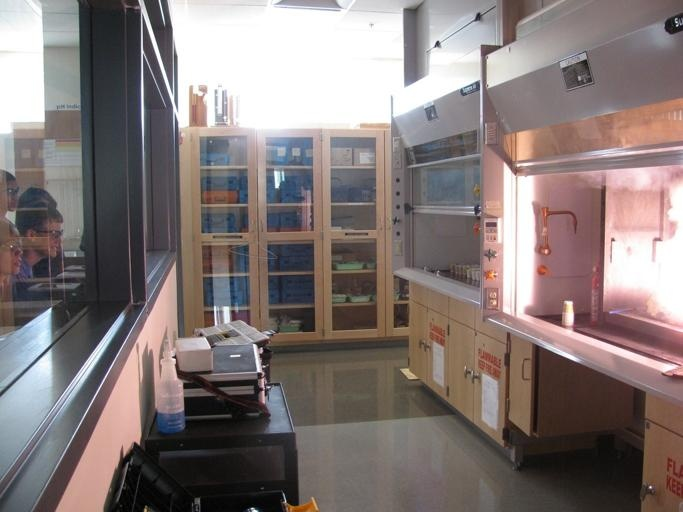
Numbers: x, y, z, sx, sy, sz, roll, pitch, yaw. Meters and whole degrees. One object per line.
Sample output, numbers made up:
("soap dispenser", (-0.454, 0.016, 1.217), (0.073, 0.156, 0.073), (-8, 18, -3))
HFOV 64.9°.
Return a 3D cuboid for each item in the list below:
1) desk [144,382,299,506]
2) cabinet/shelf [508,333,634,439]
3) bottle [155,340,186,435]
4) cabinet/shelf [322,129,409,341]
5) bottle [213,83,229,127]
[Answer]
("desk", (-0.420, 0.733, 2.056), (0.430, 0.287, 0.429), (1, -2, 6))
("cabinet/shelf", (1.335, 0.606, 3.339), (0.758, 0.729, 0.561), (-1, 7, -12))
("bottle", (-0.629, 0.463, 1.959), (0.105, 0.336, 0.127), (-4, 7, -21))
("cabinet/shelf", (0.211, -0.251, 5.670), (0.802, 2.230, 0.364), (-1, -8, 5))
("bottle", (-1.234, -1.553, 5.535), (0.152, 0.413, 0.120), (-3, 7, -11))
